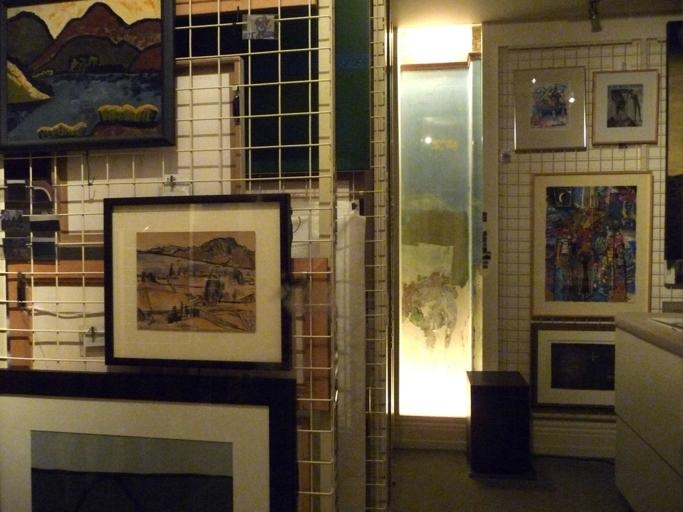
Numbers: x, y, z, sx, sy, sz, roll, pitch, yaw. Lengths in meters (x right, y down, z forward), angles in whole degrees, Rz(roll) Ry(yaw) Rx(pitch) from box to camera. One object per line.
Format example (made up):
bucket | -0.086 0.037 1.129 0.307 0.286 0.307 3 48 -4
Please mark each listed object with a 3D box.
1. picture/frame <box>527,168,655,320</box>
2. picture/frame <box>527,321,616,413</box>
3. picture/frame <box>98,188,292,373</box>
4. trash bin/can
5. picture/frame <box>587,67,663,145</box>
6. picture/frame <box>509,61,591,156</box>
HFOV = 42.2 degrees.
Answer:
picture/frame | 0.729 -0.052 2.545 0.393 0.569 0.023 0 4 10
picture/frame | 0.680 0.314 2.594 0.242 0.279 0.021 2 7 11
picture/frame | -0.358 0.065 2.265 0.425 0.403 0.035 0 3 11
trash bin/can | 0.485 0.582 2.730 0.213 0.291 0.223 -8 -36 22
picture/frame | 0.799 -0.421 2.509 0.175 0.229 0.006 1 -20 16
picture/frame | 0.607 -0.432 2.544 0.247 0.316 0.021 0 -2 11
